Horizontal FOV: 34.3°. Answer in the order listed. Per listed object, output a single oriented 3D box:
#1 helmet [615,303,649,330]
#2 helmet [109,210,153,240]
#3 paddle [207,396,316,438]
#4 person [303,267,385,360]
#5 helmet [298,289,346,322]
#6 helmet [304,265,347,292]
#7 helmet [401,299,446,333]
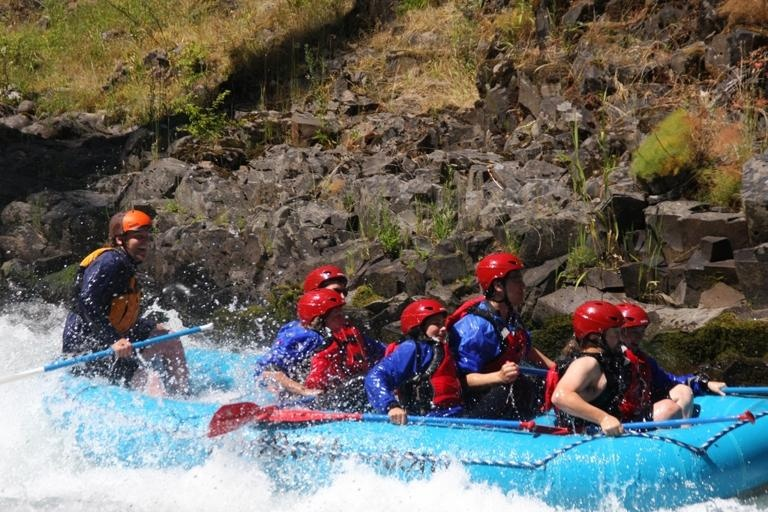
[{"bbox_3d":[3.654,0.861,18.177,0.410,0.312,0.390,29,99,25],"label":"helmet"},{"bbox_3d":[-3.944,-0.460,19.449,0.570,0.344,0.437,-27,10,-3],"label":"helmet"},{"bbox_3d":[-1.858,2.297,18.278,1.434,0.484,0.120,-13,13,-14],"label":"paddle"},{"bbox_3d":[-0.686,0.834,19.375,1.124,1.237,0.895,1,6,19],"label":"person"},{"bbox_3d":[-0.964,0.685,18.919,0.542,0.577,0.455,1,4,9],"label":"helmet"},{"bbox_3d":[-0.896,0.387,19.319,0.506,0.397,0.430,-27,78,6],"label":"helmet"},{"bbox_3d":[0.584,0.860,18.562,0.579,0.433,0.475,-35,70,22],"label":"helmet"}]
